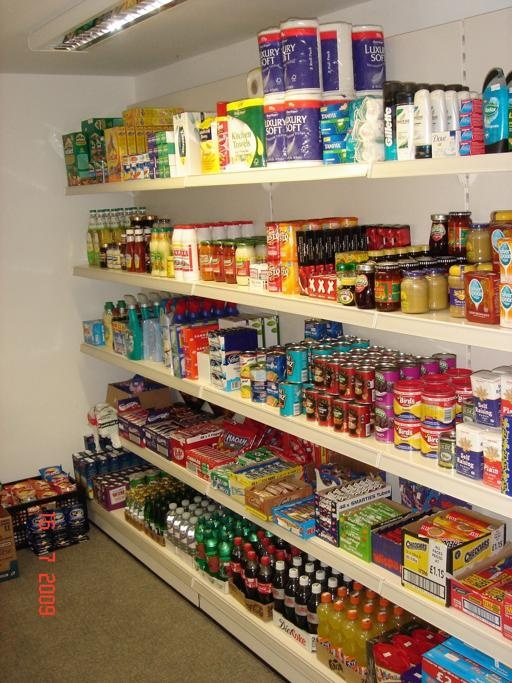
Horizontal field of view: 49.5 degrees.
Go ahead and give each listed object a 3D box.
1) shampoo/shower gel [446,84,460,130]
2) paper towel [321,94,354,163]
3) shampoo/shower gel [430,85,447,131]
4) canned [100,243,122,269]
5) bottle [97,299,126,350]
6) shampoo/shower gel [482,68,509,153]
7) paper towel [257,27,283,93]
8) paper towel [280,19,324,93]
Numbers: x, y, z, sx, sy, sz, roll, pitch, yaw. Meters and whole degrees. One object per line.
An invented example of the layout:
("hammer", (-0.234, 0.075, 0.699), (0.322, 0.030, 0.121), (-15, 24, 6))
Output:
("shampoo/shower gel", (0.474, -0.554, 1.337), (0.031, 0.100, 0.035), (-4, 7, 19))
("paper towel", (0.283, -0.668, 1.781), (0.145, 0.180, 0.135), (-4, 21, 5))
("shampoo/shower gel", (0.446, -0.565, 1.355), (0.036, 0.121, 0.044), (-4, 7, 18))
("canned", (-0.937, -0.554, 3.591), (0.063, 0.121, 0.187), (-6, 12, -38))
("bottle", (-1.003, -0.107, 3.844), (0.156, 0.413, 0.297), (-9, 18, -33))
("shampoo/shower gel", (0.525, -0.506, 1.231), (0.034, 0.182, 0.114), (-6, 7, -1))
("paper towel", (0.047, -0.950, 1.903), (0.049, 0.210, 0.141), (-10, 8, -29))
("paper towel", (0.147, -0.937, 1.857), (0.145, 0.218, 0.142), (-14, 22, -30))
